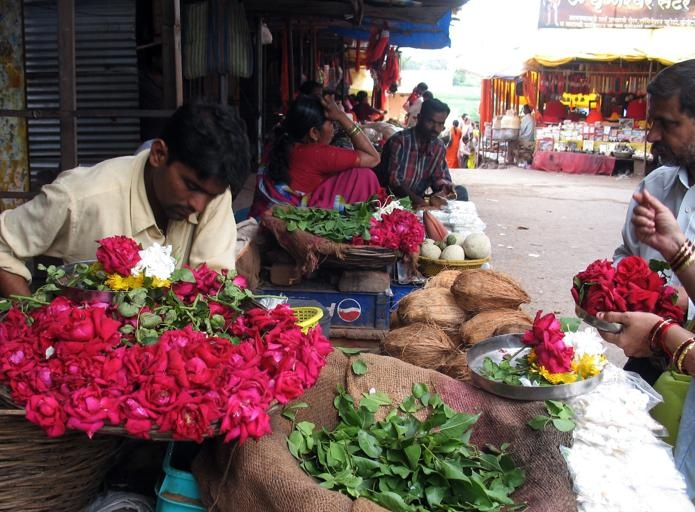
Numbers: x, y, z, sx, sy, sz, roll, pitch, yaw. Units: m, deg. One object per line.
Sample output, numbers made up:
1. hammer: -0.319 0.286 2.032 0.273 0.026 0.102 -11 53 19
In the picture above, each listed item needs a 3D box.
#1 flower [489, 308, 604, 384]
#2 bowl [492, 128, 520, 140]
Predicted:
1. flower: 0.846 0.402 2.322 0.493 0.219 0.482 -6 16 -23
2. bowl: 5.975 -4.563 20.398 0.692 0.264 0.513 4 8 36
